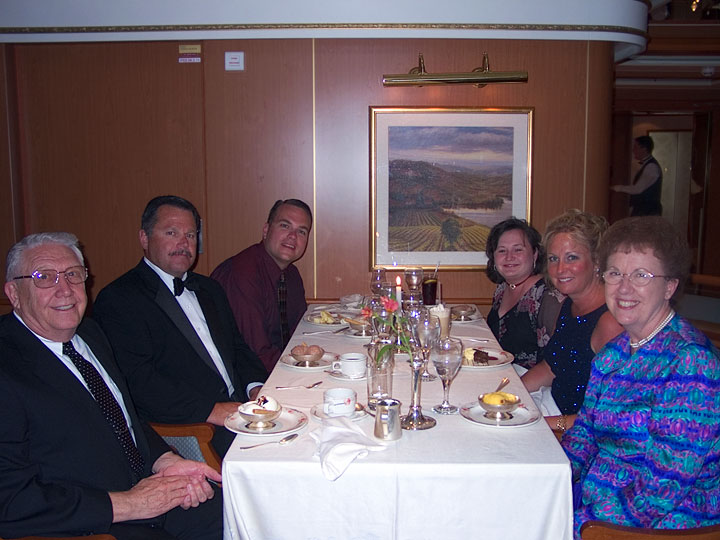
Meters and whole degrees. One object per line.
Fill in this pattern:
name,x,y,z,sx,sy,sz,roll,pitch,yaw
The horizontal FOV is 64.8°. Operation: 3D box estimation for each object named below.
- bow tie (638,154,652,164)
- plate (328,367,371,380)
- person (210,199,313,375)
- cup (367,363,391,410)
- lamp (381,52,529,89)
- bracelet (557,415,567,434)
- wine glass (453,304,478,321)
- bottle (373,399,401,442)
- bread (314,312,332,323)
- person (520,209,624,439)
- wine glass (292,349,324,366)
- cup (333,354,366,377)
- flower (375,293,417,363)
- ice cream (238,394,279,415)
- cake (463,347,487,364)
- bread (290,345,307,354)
bow tie,4.124,-1.601,8.161,0.158,0.112,0.200,-4,-4,-13
plate,-0.044,0.478,2.592,0.117,0.018,0.118,0,2,-12
person,-0.650,0.263,4.192,0.829,1.589,0.807,4,17,-2
cup,0.078,0.475,2.329,0.120,0.201,0.121,-1,-5,0
lamp,0.728,-1.584,4.478,0.998,0.284,1.056,3,13,6
bracelet,0.923,0.709,2.580,0.040,0.063,0.058,2,-8,33
wine glass,0.746,0.309,4.013,0.129,0.052,0.129,-6,12,-8
bottle,0.103,0.557,2.075,0.110,0.138,0.109,-1,-6,0
bread,-0.237,0.313,3.719,0.080,0.023,0.078,-18,31,9
person,1.022,0.290,2.941,0.721,1.197,0.729,0,5,20
wine glass,-0.264,0.434,2.849,0.101,0.069,0.102,-1,-5,1
cup,-0.060,0.450,2.660,0.125,0.074,0.093,-1,5,-6
flower,0.167,0.308,2.893,0.256,0.301,0.265,-5,-19,17
ice cream,-0.394,0.519,2.172,0.083,0.041,0.084,-2,-3,39
cake,0.586,0.431,2.851,0.123,0.050,0.129,0,5,-18
bread,-0.317,0.411,2.900,0.066,0.035,0.066,0,0,0
